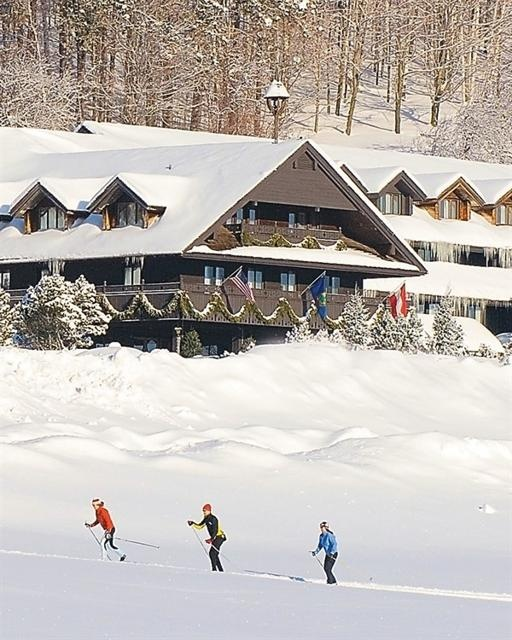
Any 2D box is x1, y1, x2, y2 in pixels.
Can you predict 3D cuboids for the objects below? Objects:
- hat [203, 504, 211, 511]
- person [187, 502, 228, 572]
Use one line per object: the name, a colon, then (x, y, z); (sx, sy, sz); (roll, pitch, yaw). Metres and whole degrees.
hat: (-0.902, 3.346, 31.701); (0.117, 0.152, 0.283); (5, 10, -5)
person: (-0.902, 3.846, 32.503); (0.673, 1.421, 2.371); (5, 10, -1)
